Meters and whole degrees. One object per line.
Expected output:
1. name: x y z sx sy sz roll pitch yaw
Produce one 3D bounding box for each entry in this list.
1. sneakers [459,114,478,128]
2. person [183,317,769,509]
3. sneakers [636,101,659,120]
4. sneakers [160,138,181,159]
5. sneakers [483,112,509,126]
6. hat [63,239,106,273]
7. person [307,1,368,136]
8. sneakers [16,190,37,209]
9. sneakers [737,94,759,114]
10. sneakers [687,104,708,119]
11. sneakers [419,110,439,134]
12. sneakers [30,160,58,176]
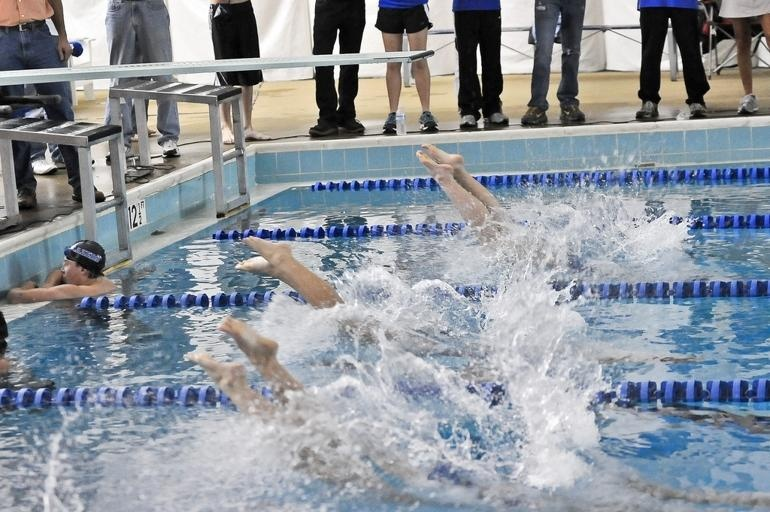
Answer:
1. sneakers: 0.726 -1.161 7.790 0.149 0.118 0.125 -3 12 2
2. person: 0.331 0.606 3.600 2.271 0.749 0.530 1 13 19
3. sneakers: 2.276 -1.246 7.743 0.115 0.127 0.307 2 7 26
4. sneakers: -1.800 -0.882 7.480 0.119 0.075 0.186 -7 20 -14
5. sneakers: 0.991 -1.219 8.006 0.111 0.088 0.264 -3 5 -13
6. hat: -1.739 0.012 5.291 0.240 0.140 0.163 26 36 -8
7. person: -0.457 -1.686 8.071 0.550 1.213 0.491 0 13 17
8. sneakers: -2.386 -0.370 5.964 0.115 0.122 0.221 -8 12 -20
9. sneakers: 3.068 -1.267 7.550 0.098 0.116 0.289 1 9 27
10. sneakers: 2.646 -1.214 7.543 0.103 0.084 0.211 -1 1 9
11. sneakers: 0.388 -1.178 7.934 0.124 0.115 0.272 -4 12 -9
12. sneakers: -2.668 -0.689 7.006 0.294 0.111 0.114 5 12 44
